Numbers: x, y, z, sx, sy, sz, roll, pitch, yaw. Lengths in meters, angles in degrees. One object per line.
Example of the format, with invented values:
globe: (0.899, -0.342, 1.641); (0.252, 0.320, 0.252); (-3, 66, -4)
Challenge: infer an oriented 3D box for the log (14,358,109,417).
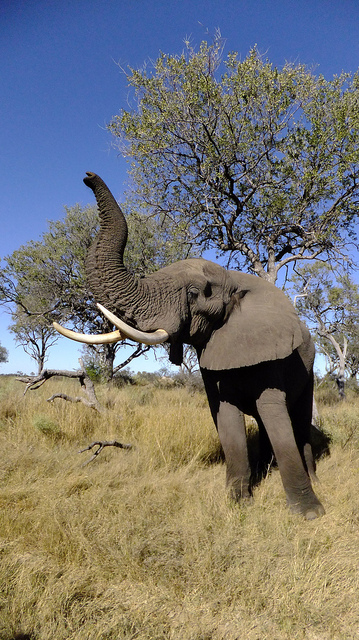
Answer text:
log: (-1.313, 0.857, 5.407); (1.368, 0.663, 0.256); (8, -17, -24)

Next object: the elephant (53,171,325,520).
elephant: (0.323, 0.394, 3.353); (2.346, 2.341, 0.860); (8, -12, -35)

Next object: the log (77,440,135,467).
log: (-0.687, 1.225, 4.134); (0.610, 0.203, 0.158); (-9, 5, -40)
